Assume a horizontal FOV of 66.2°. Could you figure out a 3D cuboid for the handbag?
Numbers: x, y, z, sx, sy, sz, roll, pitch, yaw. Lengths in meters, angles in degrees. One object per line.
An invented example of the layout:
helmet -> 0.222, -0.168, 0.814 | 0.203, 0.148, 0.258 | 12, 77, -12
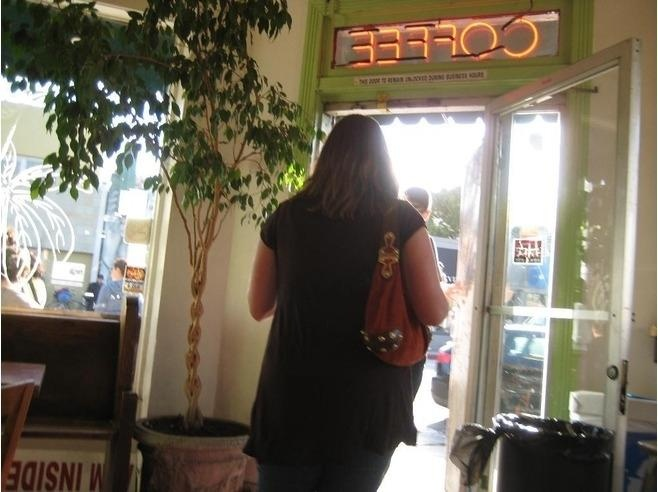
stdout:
handbag -> 0.199, 0.175, 1.447 | 0.210, 0.336, 0.065 | 7, -6, -26
